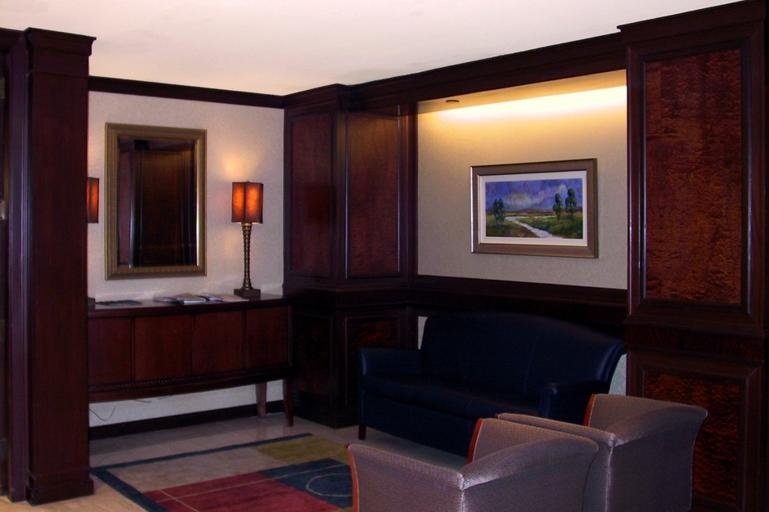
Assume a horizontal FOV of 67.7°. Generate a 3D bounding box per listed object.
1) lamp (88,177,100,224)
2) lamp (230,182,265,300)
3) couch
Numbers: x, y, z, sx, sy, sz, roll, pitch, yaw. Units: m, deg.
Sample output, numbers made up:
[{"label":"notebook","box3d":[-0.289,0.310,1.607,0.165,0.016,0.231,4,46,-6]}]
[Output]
[{"label":"lamp","box3d":[-2.767,-0.538,5.447,0.085,0.434,0.181,0,3,-19]},{"label":"lamp","box3d":[-1.469,-0.184,6.096,0.318,1.207,0.446,0,3,-15]},{"label":"couch","box3d":[0.876,1.192,5.132,1.156,1.180,2.388,2,-3,-34]}]
